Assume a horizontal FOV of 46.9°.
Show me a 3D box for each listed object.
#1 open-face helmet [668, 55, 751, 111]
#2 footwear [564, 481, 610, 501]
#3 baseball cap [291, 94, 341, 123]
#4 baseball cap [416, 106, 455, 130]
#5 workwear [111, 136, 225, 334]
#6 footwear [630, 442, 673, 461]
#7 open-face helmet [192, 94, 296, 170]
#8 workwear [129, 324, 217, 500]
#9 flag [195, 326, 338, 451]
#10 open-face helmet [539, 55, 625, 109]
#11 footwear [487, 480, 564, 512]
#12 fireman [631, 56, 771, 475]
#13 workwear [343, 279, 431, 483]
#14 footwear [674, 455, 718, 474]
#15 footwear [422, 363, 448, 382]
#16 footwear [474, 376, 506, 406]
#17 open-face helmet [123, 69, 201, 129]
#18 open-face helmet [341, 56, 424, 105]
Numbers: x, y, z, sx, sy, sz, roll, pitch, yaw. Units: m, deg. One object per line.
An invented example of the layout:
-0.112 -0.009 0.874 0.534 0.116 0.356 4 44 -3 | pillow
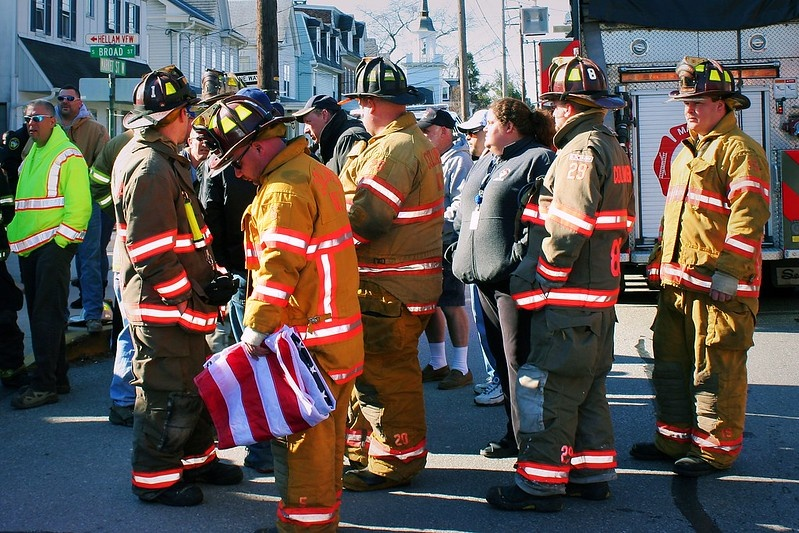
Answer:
2.734 -1.662 8.167 0.730 0.367 0.629 -4 15 -22 | open-face helmet
1.547 1.838 7.575 0.390 0.178 0.146 2 0 11 | footwear
-0.824 -1.532 9.053 0.442 0.228 0.268 -3 0 -6 | baseball cap
0.434 -1.679 10.440 0.383 0.208 0.257 -1 8 -2 | baseball cap
-1.911 -0.267 7.536 0.753 1.633 0.573 -4 14 -14 | workwear
2.235 1.652 8.168 0.368 0.154 0.146 6 2 9 | footwear
-1.221 -1.038 6.949 0.648 0.318 0.537 -41 12 -12 | open-face helmet
-1.831 1.077 7.804 0.604 1.821 0.926 0 2 18 | workwear
-0.933 0.940 7.094 0.943 0.950 0.399 -17 -5 1 | flag
1.506 -1.552 7.691 0.592 0.414 0.777 -11 15 -29 | open-face helmet
1.030 1.826 7.444 0.573 0.263 0.242 4 3 14 | footwear
2.794 0.049 8.196 0.945 3.634 1.446 2 0 -14 | fireman
-0.062 0.977 8.231 0.718 1.000 2.180 -8 51 3 | workwear
2.515 1.706 7.818 0.347 0.143 0.149 4 2 -2 | footwear
0.397 1.212 10.198 0.336 0.139 0.138 2 -5 -23 | footwear
0.924 1.328 9.493 0.181 0.234 0.520 -3 -6 33 | footwear
-2.013 -1.469 7.758 0.523 0.374 0.738 6 29 35 | open-face helmet
-0.119 -1.550 7.937 0.465 0.249 0.486 3 6 4 | open-face helmet
